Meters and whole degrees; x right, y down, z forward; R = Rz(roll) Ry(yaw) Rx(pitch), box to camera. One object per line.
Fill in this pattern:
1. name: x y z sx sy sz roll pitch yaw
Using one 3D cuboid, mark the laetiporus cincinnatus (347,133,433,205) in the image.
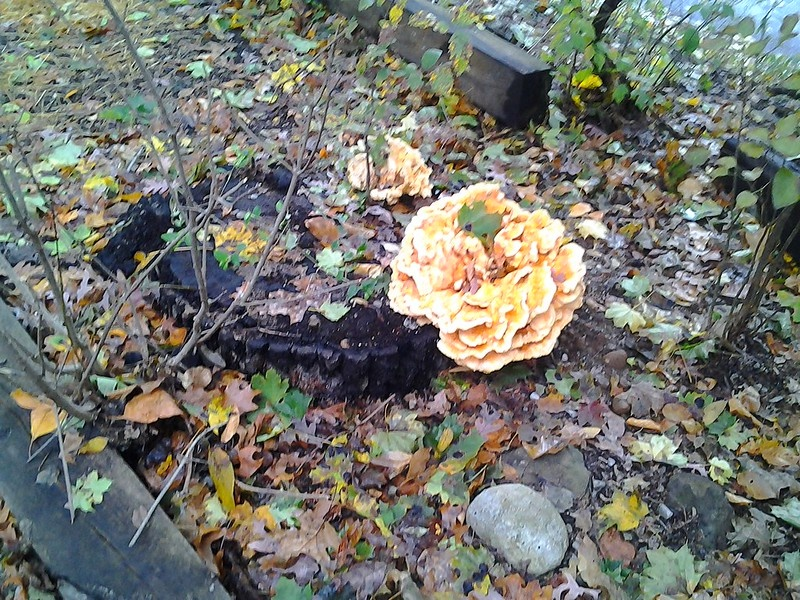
1. laetiporus cincinnatus: -0.067 -0.964 4.622 0.552 0.495 0.272 52 11 32
